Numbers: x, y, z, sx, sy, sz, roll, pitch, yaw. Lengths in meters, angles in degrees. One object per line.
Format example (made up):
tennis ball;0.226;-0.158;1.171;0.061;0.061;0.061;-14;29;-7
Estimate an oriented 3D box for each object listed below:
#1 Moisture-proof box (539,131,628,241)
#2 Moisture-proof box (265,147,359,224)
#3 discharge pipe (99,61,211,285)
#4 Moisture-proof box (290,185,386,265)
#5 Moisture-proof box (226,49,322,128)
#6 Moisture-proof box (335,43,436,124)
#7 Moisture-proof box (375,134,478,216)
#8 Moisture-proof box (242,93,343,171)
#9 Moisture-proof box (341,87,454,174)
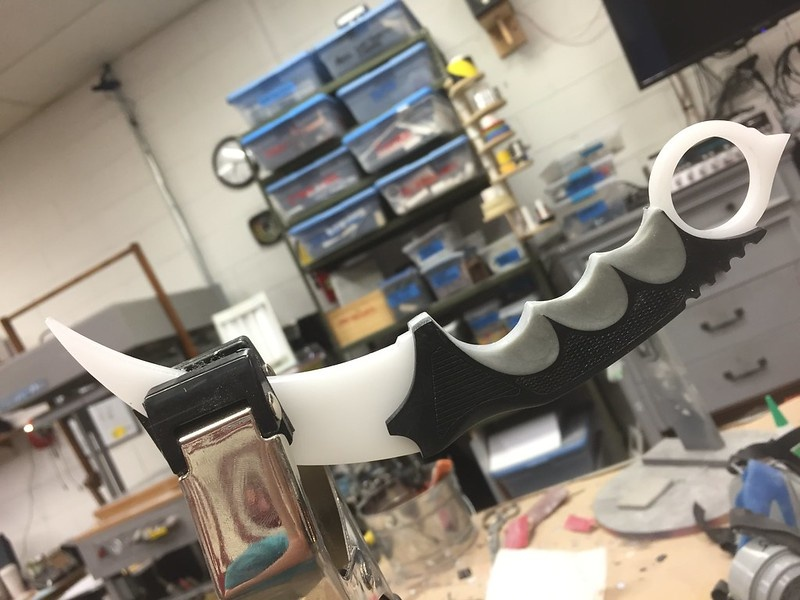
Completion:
Moisture-proof box;0.846;-0.506;3.583;0.394;0.399;0.336;-31;-19;11
Moisture-proof box;-0.375;-0.508;3.574;0.377;0.127;0.256;-28;16;12
discharge pipe;-1.212;-0.679;4.004;0.203;1.165;0.095;-20;7;15
Moisture-proof box;-0.270;-0.322;3.496;0.413;0.253;0.103;-22;19;3
Moisture-proof box;-0.518;-0.898;3.537;0.399;0.191;0.272;-27;6;9
Moisture-proof box;-0.044;-0.917;3.471;0.373;0.163;0.296;-30;10;9
Moisture-proof box;0.124;-0.524;3.474;0.397;0.143;0.259;-28;7;9
Moisture-proof box;-0.463;-0.718;3.492;0.377;0.129;0.264;-29;-11;7
Moisture-proof box;0.065;-0.763;3.541;0.565;0.212;0.398;-24;2;33
